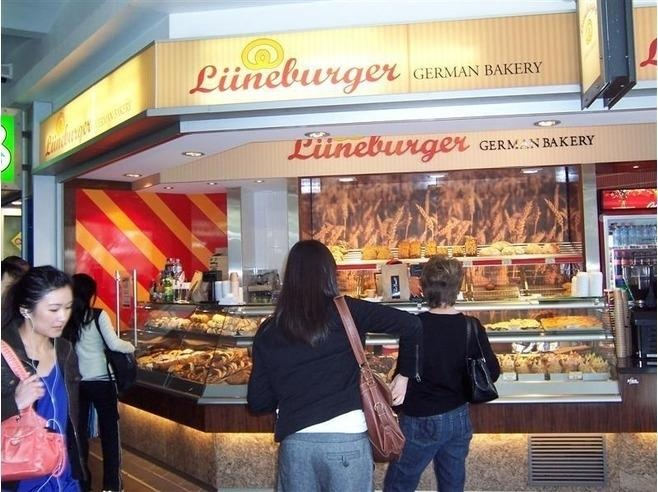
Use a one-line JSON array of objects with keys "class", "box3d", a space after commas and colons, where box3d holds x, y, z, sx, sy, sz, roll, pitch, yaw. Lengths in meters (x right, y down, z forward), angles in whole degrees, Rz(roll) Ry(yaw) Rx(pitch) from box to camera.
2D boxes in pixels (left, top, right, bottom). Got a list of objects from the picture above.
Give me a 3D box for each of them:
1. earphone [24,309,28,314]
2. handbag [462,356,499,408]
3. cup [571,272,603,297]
[{"class": "earphone", "box3d": [-1.581, 0.340, 2.826, 0.018, 0.024, 0.008, 8, -1, 10]}, {"class": "handbag", "box3d": [0.953, 0.809, 3.456, 0.216, 0.417, 0.426, -7, -14, 21]}, {"class": "cup", "box3d": [2.119, 0.306, 4.426, 0.118, 0.180, 0.255, -1, -4, -28]}]
